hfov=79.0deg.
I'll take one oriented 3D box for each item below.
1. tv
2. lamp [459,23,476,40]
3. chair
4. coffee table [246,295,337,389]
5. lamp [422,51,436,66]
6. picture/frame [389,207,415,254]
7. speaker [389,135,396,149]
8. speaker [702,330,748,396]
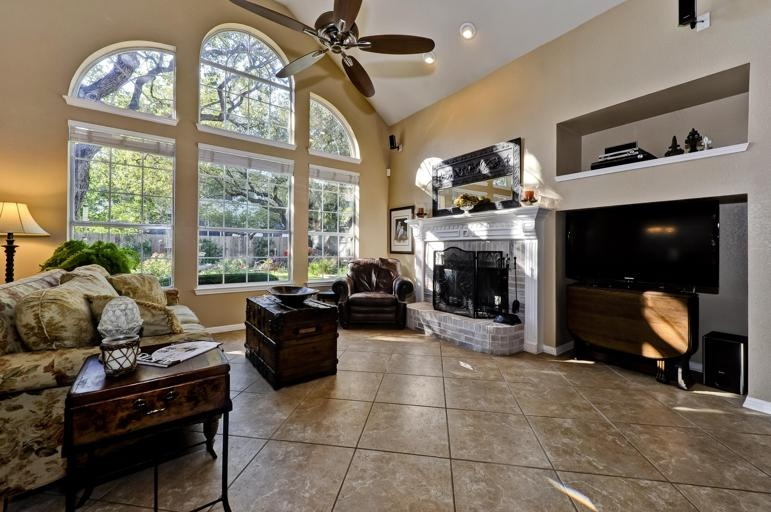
[{"bbox_3d":[3.022,-0.124,5.407,1.178,0.794,0.118,1,1,42],"label":"tv"},{"bbox_3d":[1.105,-3.034,6.290,0.214,0.155,0.195,1,2,40],"label":"lamp"},{"bbox_3d":[-0.171,0.625,7.434,1.246,1.083,0.998,0,-9,0],"label":"chair"},{"bbox_3d":[-1.154,0.924,5.443,0.870,0.867,1.331,-2,3,-33],"label":"coffee table"},{"bbox_3d":[0.632,-2.886,6.803,0.119,0.080,0.120,2,-22,-8],"label":"lamp"},{"bbox_3d":[0.303,-0.458,8.122,0.048,1.117,0.817,3,-4,-37],"label":"picture/frame"},{"bbox_3d":[0.126,-2.048,8.388,0.096,0.252,0.249,-1,2,-18],"label":"speaker"},{"bbox_3d":[3.646,1.167,5.044,0.382,0.591,0.134,0,2,28],"label":"speaker"}]
